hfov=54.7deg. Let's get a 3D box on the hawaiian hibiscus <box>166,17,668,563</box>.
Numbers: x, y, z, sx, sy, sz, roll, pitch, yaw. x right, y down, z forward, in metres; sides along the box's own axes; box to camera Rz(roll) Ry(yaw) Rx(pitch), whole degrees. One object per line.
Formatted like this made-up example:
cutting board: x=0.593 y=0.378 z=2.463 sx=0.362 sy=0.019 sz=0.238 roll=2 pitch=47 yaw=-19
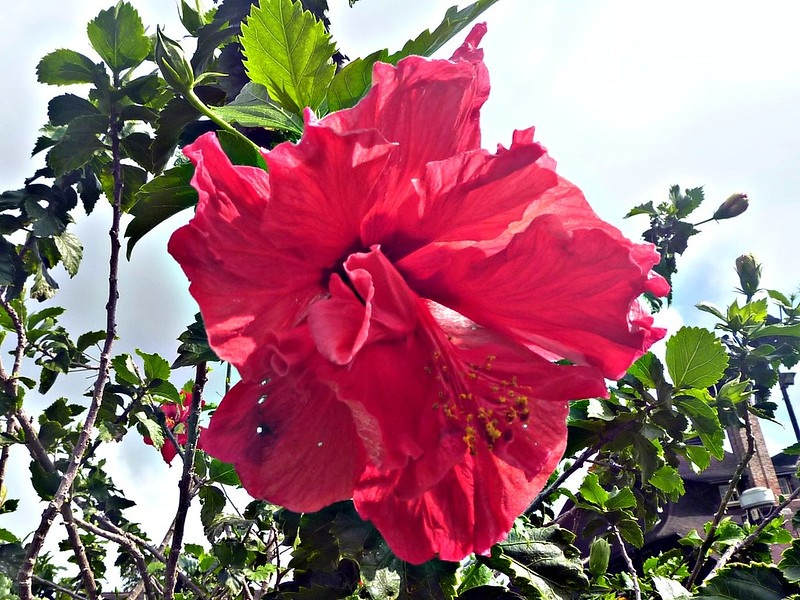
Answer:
hawaiian hibiscus: x=0.000 y=0.024 z=2.369 sx=1.429 sy=1.466 sz=0.647 roll=12 pitch=-20 yaw=-17
